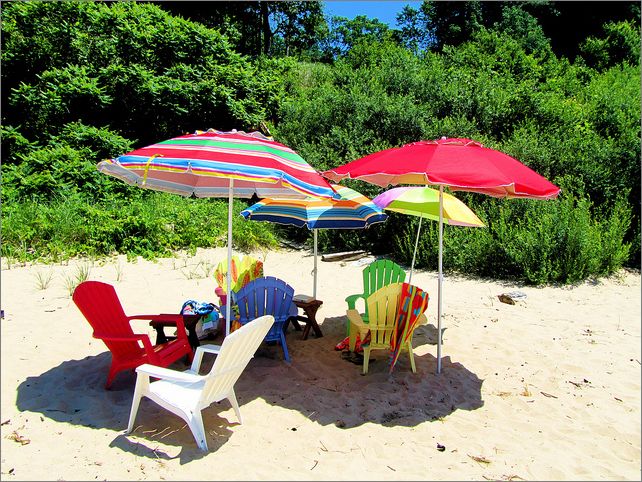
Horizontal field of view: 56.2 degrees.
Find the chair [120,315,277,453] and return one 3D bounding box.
[{"bbox_3d":[-2.090,2.281,10.356,2.323,2.103,1.904,2,3,25],"label":"chair"}]

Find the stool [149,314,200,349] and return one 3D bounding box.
[{"bbox_3d":[-2.648,1.708,11.138,0.723,0.676,0.724,-1,2,0],"label":"stool"}]

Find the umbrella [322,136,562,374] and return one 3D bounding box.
[{"bbox_3d":[2.203,0.234,12.013,4.199,4.271,4.284,5,5,28],"label":"umbrella"}]

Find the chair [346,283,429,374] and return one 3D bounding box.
[{"bbox_3d":[1.033,1.349,11.382,1.739,2.040,1.539,-1,13,-8],"label":"chair"}]

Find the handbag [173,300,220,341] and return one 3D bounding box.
[{"bbox_3d":[-2.258,1.534,11.627,0.604,0.799,0.842,-4,-17,17],"label":"handbag"}]

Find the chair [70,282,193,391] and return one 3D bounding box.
[{"bbox_3d":[-3.257,1.621,10.464,1.654,1.563,1.301,0,9,15],"label":"chair"}]

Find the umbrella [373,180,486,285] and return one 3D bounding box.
[{"bbox_3d":[2.150,-0.354,12.603,1.973,2.006,2.068,21,-1,15],"label":"umbrella"}]
